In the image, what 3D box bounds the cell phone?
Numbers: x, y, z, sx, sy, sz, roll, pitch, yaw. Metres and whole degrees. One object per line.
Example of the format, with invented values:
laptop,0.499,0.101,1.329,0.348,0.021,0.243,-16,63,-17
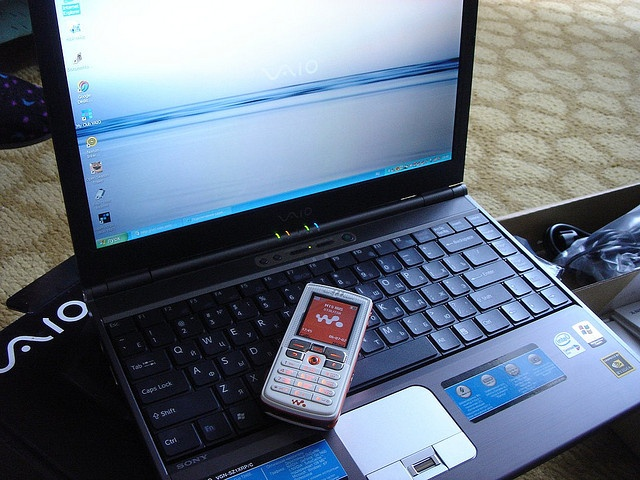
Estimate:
cell phone,-0.003,0.126,0.554,0.095,0.034,0.152,16,50,11
